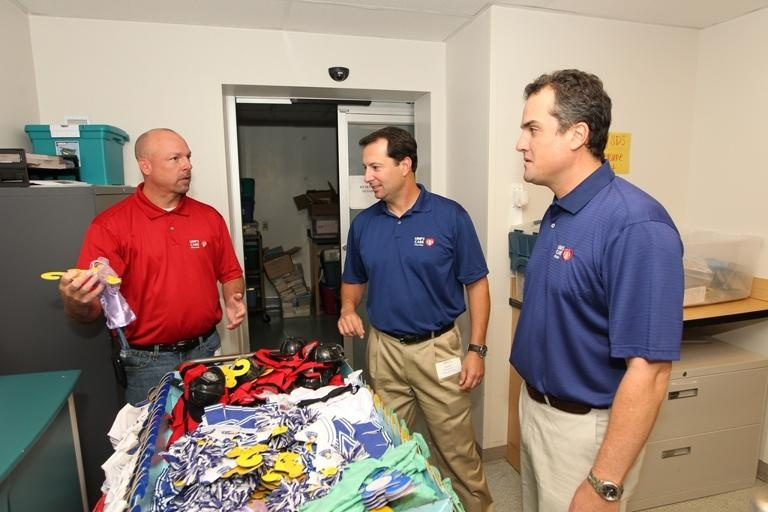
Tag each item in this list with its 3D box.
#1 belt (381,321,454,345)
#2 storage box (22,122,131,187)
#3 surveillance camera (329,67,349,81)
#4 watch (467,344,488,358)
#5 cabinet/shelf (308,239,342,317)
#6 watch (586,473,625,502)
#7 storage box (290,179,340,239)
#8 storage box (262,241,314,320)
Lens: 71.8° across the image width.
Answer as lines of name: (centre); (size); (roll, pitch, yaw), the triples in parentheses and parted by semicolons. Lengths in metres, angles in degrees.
belt: (0.199, 0.454, 3.117); (0.428, 0.095, 0.097); (-3, 14, 0)
storage box: (-1.941, -0.654, 3.491); (0.564, 0.393, 0.453); (1, 4, 3)
surveillance camera: (-0.319, -1.283, 3.741); (0.121, 0.091, 0.039); (-4, 23, -5)
watch: (0.544, 0.544, 3.116); (0.106, 0.067, 0.109); (6, -2, 7)
cabinet/shelf: (-0.747, 0.187, 6.948); (0.544, 0.797, 0.582); (5, -1, 9)
watch: (0.913, 0.938, 2.172); (0.100, 0.063, 0.113); (10, 7, -3)
storage box: (-0.809, -0.616, 6.849); (0.577, 0.280, 0.831); (-3, 38, -7)
storage box: (-1.234, 0.363, 7.011); (0.624, 0.877, 0.287); (-11, -5, -9)
